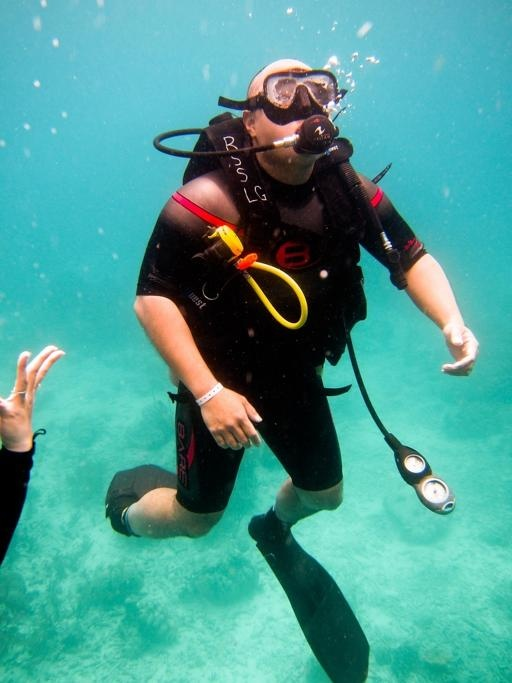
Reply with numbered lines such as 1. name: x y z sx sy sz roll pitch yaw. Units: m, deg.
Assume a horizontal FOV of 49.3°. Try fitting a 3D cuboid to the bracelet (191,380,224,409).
1. bracelet: -0.250 0.281 2.929 0.130 0.033 0.122 -30 4 21
